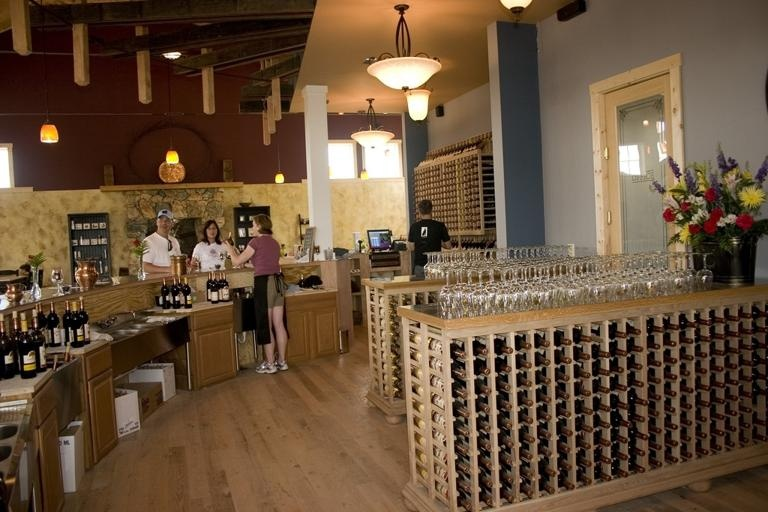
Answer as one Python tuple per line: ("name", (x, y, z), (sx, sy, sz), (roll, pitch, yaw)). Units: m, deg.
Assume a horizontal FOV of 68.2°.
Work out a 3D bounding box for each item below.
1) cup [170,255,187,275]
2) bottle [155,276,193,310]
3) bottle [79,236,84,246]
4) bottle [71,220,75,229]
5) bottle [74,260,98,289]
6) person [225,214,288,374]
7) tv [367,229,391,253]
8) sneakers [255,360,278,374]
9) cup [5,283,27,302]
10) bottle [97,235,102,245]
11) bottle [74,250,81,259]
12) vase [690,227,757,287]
("cup", (-2.795, 0.131, 7.712), (0.260, 0.276, 0.258), (0, -3, 0))
("bottle", (-2.829, 0.473, 7.675), (0.442, 0.423, 0.442), (-1, 4, -6))
("bottle", (-7.819, -0.399, 14.687), (0.138, 0.211, 0.087), (-4, 9, -11))
("bottle", (-8.041, -0.788, 14.655), (0.057, 0.213, 0.126), (-4, 9, -12))
("bottle", (-3.499, 0.205, 6.674), (0.218, 0.353, 0.662), (-7, 10, -28))
("person", (-1.752, 0.546, 8.175), (0.646, 2.273, 0.511), (-2, 9, 3))
("tv", (-0.076, -0.312, 11.385), (0.496, 0.465, 0.405), (0, -5, -11))
("sneakers", (-1.695, 1.616, 8.248), (0.338, 0.155, 0.146), (2, 0, 24))
("cup", (-3.656, 0.374, 5.659), (0.181, 0.203, 0.169), (-2, -1, 0))
("bottle", (-7.372, -0.409, 14.770), (0.149, 0.230, 0.125), (-4, 9, -10))
("bottle", (-7.904, -0.048, 14.647), (0.155, 0.177, 0.159), (-5, 9, -13))
("vase", (3.236, 0.010, 5.420), (0.563, 0.412, 0.505), (-2, -4, 18))
